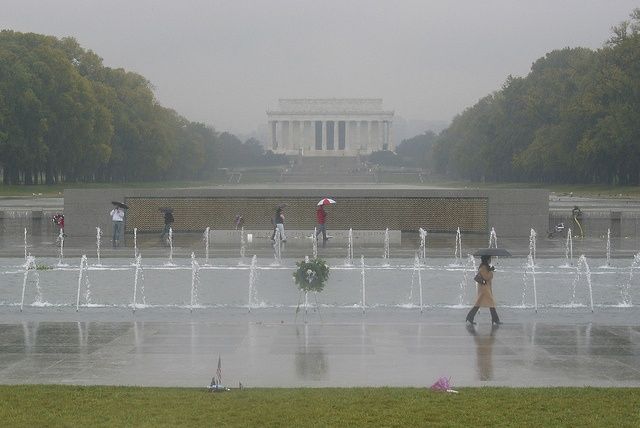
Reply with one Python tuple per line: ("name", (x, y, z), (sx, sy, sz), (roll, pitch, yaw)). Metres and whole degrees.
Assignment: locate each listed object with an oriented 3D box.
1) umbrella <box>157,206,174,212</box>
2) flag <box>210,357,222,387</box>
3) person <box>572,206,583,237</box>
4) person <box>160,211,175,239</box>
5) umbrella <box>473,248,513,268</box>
("umbrella", (-8.727, -0.168, 75.542), (0.794, 0.365, 0.877), (1, -3, -13))
("flag", (-4.410, 6.847, 56.738), (0.475, 1.187, 1.526), (1, -3, -4))
("person", (15.243, 0.579, 78.617), (0.650, 1.809, 1.061), (0, -3, 11))
("person", (-8.812, 0.742, 77.138), (0.831, 1.868, 0.556), (2, 41, -15))
("umbrella", (7.790, 1.916, 60.829), (1.265, 0.681, 1.272), (-3, 2, 21))
